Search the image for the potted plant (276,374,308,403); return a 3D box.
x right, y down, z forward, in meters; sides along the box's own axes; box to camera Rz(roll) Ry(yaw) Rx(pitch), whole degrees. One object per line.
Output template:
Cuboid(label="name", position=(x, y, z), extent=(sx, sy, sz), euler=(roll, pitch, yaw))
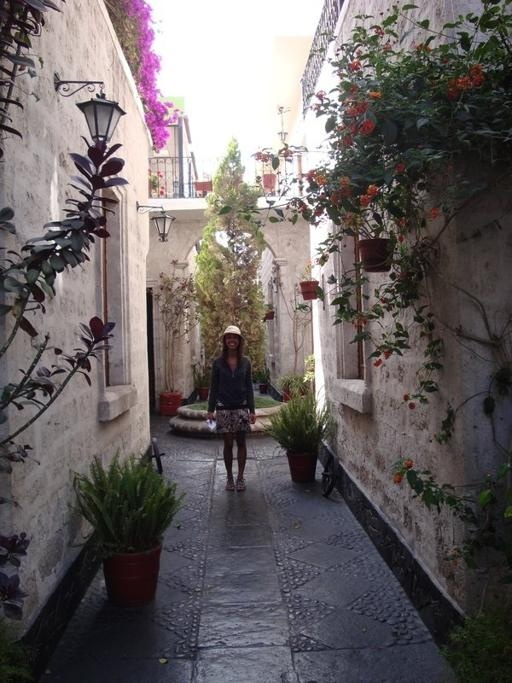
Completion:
Cuboid(label="potted plant", position=(0.754, 0.926, 10.611), extent=(0.532, 0.659, 0.600), euler=(0, 2, 14))

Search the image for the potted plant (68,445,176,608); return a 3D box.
Cuboid(label="potted plant", position=(-0.711, 1.042, 2.792), extent=(0.507, 0.755, 0.524), euler=(-2, -2, 13))

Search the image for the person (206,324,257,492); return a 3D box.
Cuboid(label="person", position=(-0.259, 0.672, 5.204), extent=(0.453, 1.681, 0.533), euler=(-1, -2, -2))

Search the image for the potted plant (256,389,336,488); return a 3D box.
Cuboid(label="potted plant", position=(0.406, 1.066, 5.591), extent=(0.647, 1.057, 0.767), euler=(-1, -7, 3))

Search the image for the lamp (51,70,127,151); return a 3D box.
Cuboid(label="lamp", position=(-0.976, -1.367, 2.971), extent=(0.320, 0.496, 0.252), euler=(-3, -12, -3))

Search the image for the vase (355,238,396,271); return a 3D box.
Cuboid(label="vase", position=(0.586, -0.400, 2.509), extent=(0.146, 0.136, 0.147), euler=(-1, -2, -39))

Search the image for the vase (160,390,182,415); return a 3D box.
Cuboid(label="vase", position=(-1.881, 1.327, 11.338), extent=(0.400, 0.522, 0.541), euler=(1, 7, -3))

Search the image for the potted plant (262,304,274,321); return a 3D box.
Cuboid(label="potted plant", position=(0.291, -0.667, 12.063), extent=(0.323, 0.486, 0.360), euler=(0, -9, -12))

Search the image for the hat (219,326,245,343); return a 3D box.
Cuboid(label="hat", position=(-0.307, -0.100, 6.670), extent=(0.229, 0.160, 0.277), euler=(1, -23, 2))

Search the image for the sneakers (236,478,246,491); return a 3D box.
Cuboid(label="sneakers", position=(-0.158, 1.453, 5.156), extent=(0.069, 0.097, 0.218), euler=(0, -11, -1))
